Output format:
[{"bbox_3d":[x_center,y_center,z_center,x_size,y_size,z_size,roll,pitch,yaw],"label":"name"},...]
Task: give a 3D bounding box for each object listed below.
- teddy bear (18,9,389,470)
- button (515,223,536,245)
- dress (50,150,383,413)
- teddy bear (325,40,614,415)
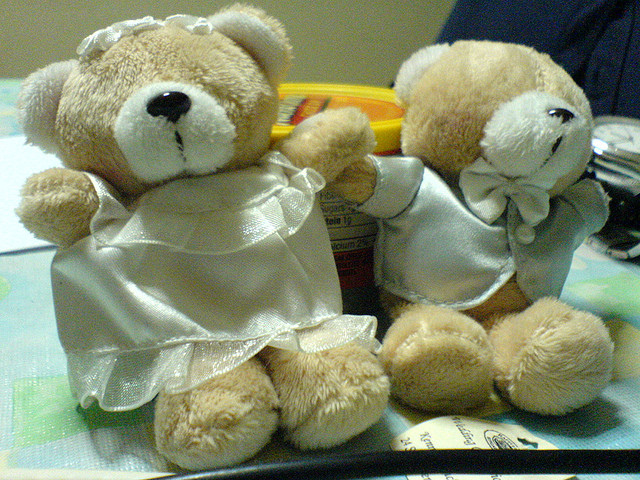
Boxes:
[{"bbox_3d":[-0.040,-0.038,0.965,0.579,0.531,0.520,-12,16,-28],"label":"teddy bear"},{"bbox_3d":[0.262,-0.007,0.859,0.032,0.026,0.007,2,-4,5],"label":"button"},{"bbox_3d":[-0.143,-0.003,0.819,0.365,0.326,0.245,-13,13,-23],"label":"dress"},{"bbox_3d":[0.215,-0.020,0.883,0.502,0.431,0.284,0,20,-18],"label":"teddy bear"}]
